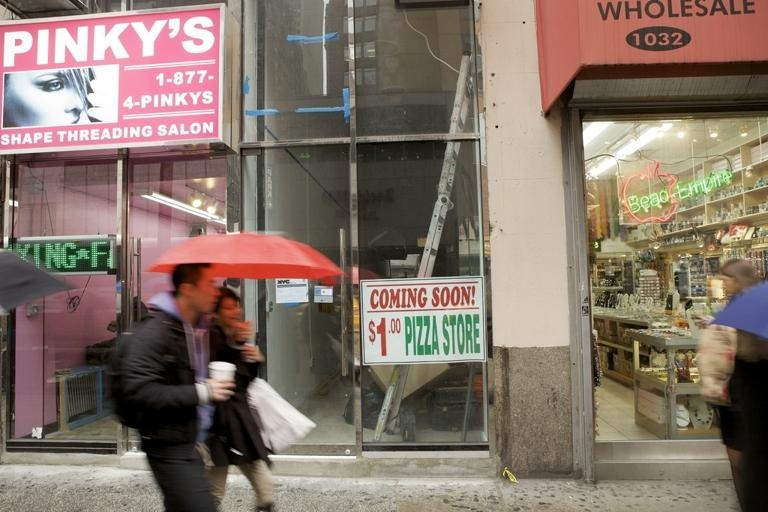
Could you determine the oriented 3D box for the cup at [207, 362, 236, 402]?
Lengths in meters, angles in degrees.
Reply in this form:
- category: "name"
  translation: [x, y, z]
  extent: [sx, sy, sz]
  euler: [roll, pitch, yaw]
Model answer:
- category: "cup"
  translation: [-1.610, 1.232, 7.605]
  extent: [0.315, 0.338, 0.320]
  euler: [-1, -15, 0]
